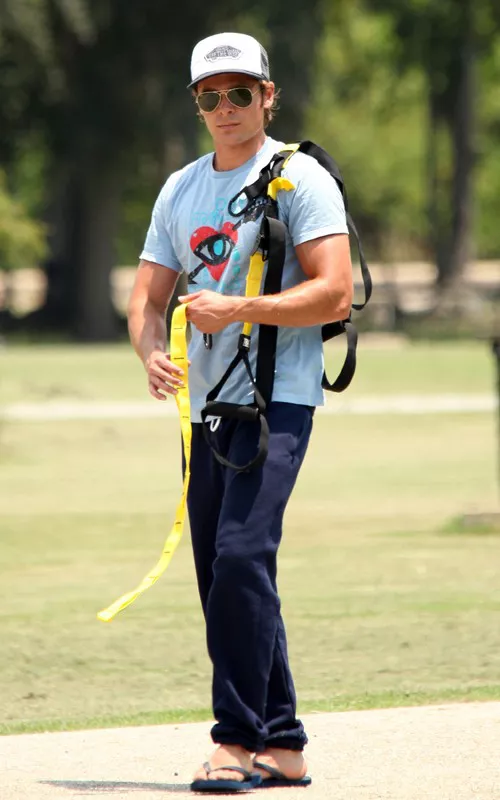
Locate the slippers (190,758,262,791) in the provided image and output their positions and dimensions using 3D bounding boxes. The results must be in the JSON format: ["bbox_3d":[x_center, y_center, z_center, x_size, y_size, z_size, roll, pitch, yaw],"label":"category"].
[{"bbox_3d":[-0.059,0.940,3.411,0.174,0.075,0.106,0,5,-5],"label":"slippers"}]

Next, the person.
[{"bbox_3d":[-0.015,0.005,3.629,0.540,1.964,0.692,0,5,-10],"label":"person"}]
